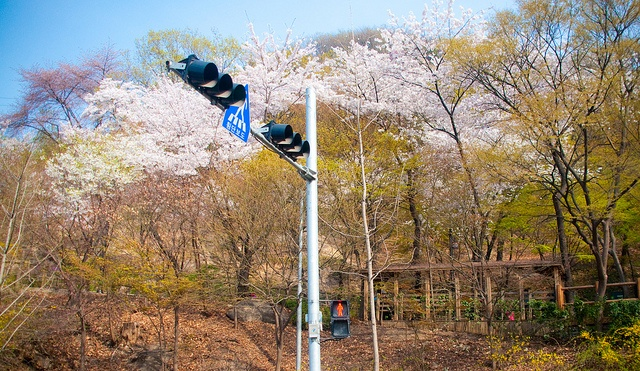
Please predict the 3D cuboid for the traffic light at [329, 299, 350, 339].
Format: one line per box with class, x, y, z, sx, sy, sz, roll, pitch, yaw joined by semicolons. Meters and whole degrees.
traffic light;0.897;5.953;25.697;0.792;1.662;0.419;-1;-13;0
